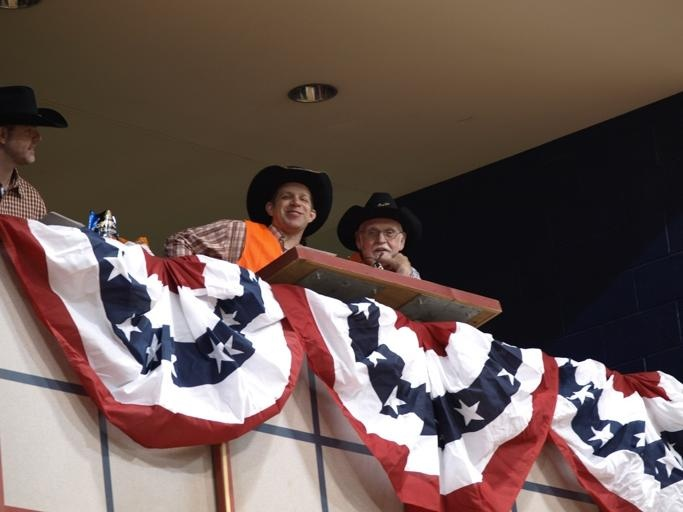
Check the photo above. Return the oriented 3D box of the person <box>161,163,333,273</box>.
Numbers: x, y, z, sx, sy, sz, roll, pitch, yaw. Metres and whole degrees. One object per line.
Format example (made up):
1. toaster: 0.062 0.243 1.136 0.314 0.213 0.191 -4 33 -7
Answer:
1. person: -0.503 -0.258 5.072 0.687 0.578 1.383 11 2 8

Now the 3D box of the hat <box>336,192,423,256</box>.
1. hat: 0.224 -0.252 5.868 0.397 0.202 0.511 5 -32 2

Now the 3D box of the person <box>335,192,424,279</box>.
1. person: 0.297 -0.166 5.601 0.540 0.506 1.039 11 2 -7

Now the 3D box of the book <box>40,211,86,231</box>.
1. book: -1.156 -0.140 3.466 0.171 0.048 0.196 11 2 -18
